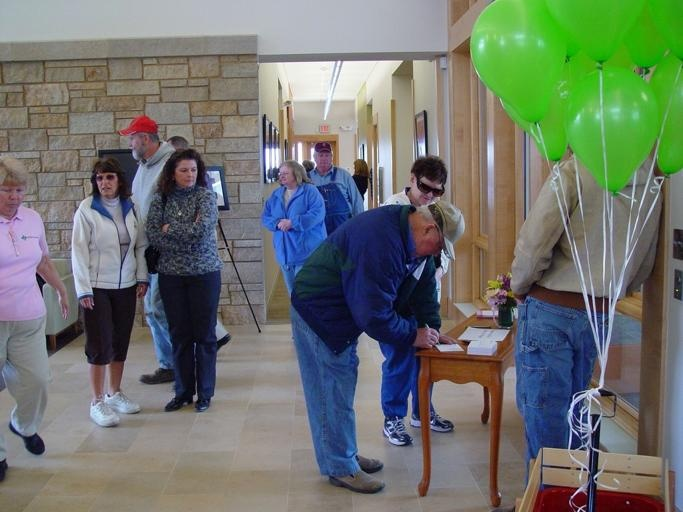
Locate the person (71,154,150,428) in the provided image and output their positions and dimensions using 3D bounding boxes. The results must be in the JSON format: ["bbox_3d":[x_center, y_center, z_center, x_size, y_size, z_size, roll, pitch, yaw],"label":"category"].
[{"bbox_3d":[-1.562,0.232,4.178,0.341,1.776,0.525,2,11,21],"label":"person"}]

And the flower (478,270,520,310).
[{"bbox_3d":[0.939,0.204,3.605,0.196,0.203,0.191,6,-8,-19],"label":"flower"}]

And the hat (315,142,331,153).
[{"bbox_3d":[-0.193,-1.134,6.225,0.132,0.122,0.187,4,0,-3],"label":"hat"}]

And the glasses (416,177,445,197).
[{"bbox_3d":[0.558,-0.415,3.687,0.206,0.123,0.093,-7,12,-26],"label":"glasses"}]

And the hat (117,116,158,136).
[{"bbox_3d":[-1.507,-0.976,4.555,0.243,0.139,0.200,2,11,16],"label":"hat"}]

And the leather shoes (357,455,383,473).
[{"bbox_3d":[0.162,1.194,3.484,0.153,0.072,0.073,-3,3,12],"label":"leather shoes"}]

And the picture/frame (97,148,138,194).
[{"bbox_3d":[-2.380,-0.898,6.513,0.479,0.496,0.035,3,6,24],"label":"picture/frame"}]

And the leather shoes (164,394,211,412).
[{"bbox_3d":[-1.108,1.062,4.357,0.347,0.143,0.118,8,-1,-16],"label":"leather shoes"}]

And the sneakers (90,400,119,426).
[{"bbox_3d":[-1.609,1.075,4.193,0.267,0.123,0.108,6,12,40],"label":"sneakers"}]

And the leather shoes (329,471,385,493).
[{"bbox_3d":[0.082,1.225,3.372,0.263,0.103,0.114,0,2,14],"label":"leather shoes"}]

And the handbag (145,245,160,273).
[{"bbox_3d":[-1.323,0.022,4.264,0.121,0.177,0.055,2,-1,1],"label":"handbag"}]

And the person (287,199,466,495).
[{"bbox_3d":[0.165,0.495,3.294,0.935,1.511,0.612,0,4,19],"label":"person"}]

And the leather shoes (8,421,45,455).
[{"bbox_3d":[-1.946,1.134,3.767,0.215,0.085,0.079,43,32,2],"label":"leather shoes"}]

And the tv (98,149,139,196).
[{"bbox_3d":[-2.348,-0.884,6.366,0.038,0.491,0.487,14,15,23],"label":"tv"}]

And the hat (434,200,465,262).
[{"bbox_3d":[0.552,-0.139,3.021,0.119,0.249,0.154,-13,49,11],"label":"hat"}]

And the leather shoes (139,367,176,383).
[{"bbox_3d":[-1.457,0.969,4.926,0.323,0.143,0.120,3,1,-14],"label":"leather shoes"}]

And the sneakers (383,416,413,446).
[{"bbox_3d":[0.346,1.100,3.774,0.090,0.100,0.229,1,-2,-16],"label":"sneakers"}]
